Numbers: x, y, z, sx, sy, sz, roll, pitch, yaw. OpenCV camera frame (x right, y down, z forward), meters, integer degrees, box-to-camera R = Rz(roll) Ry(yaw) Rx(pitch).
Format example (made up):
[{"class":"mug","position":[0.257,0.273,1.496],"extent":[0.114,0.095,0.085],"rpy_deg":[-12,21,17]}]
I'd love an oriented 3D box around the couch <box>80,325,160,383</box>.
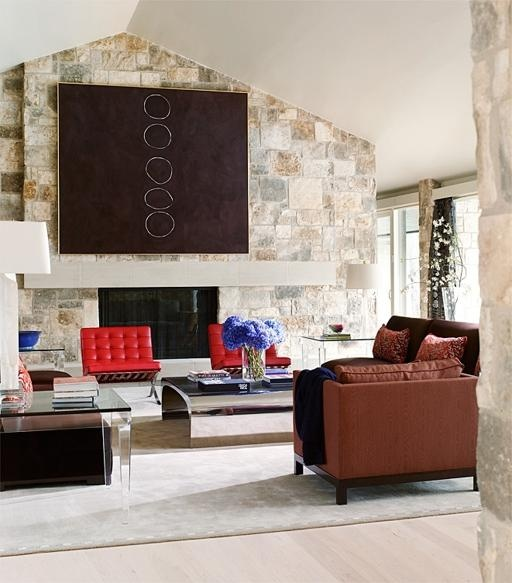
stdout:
[{"class":"couch","position":[-1.394,0.619,5.806],"extent":[0.739,0.620,0.585],"rpy_deg":[1,-4,-25]}]

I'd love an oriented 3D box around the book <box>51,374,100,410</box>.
[{"class":"book","position":[-0.940,0.525,2.992],"extent":[0.233,0.116,0.460],"rpy_deg":[0,-1,-16]}]

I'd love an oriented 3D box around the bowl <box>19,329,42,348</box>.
[{"class":"bowl","position":[-2.191,0.459,5.577],"extent":[0.173,0.111,0.176],"rpy_deg":[0,-5,0]}]

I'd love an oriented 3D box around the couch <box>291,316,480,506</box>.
[{"class":"couch","position":[0.737,0.668,3.562],"extent":[1.003,1.056,1.183],"rpy_deg":[0,1,-17]}]

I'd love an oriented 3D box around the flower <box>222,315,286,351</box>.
[{"class":"flower","position":[-0.044,0.366,5.007],"extent":[0.440,0.282,0.504],"rpy_deg":[2,-5,1]}]

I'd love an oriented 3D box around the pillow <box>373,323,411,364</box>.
[{"class":"pillow","position":[1.288,0.514,5.515],"extent":[0.163,0.343,0.465],"rpy_deg":[1,2,-19]}]

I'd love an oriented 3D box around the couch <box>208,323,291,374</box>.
[{"class":"couch","position":[-0.109,0.515,5.970],"extent":[0.645,0.605,0.517],"rpy_deg":[2,-7,-26]}]
